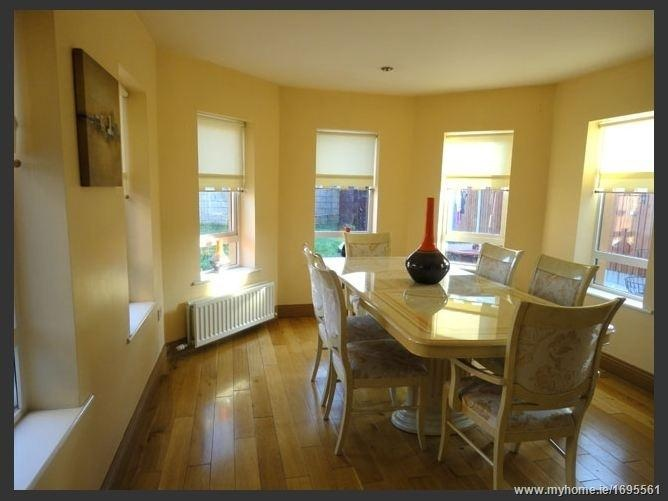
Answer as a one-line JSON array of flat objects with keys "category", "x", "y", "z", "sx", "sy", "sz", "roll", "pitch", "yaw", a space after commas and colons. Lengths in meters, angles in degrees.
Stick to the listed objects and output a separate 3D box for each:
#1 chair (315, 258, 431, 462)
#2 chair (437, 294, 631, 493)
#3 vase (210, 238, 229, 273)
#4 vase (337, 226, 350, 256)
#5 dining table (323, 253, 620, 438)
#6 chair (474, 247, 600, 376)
[{"category": "chair", "x": 0.163, "y": 0.660, "z": 3.655, "sx": 0.990, "sy": 1.657, "sz": 0.981, "roll": -3, "pitch": 9, "yaw": -9}, {"category": "chair", "x": 1.008, "y": 0.724, "z": 2.611, "sx": 0.678, "sy": 1.108, "sz": 0.544, "roll": -3, "pitch": 14, "yaw": -16}, {"category": "vase", "x": -1.097, "y": 0.060, "z": 4.684, "sx": 0.117, "sy": 0.317, "sz": 0.150, "roll": 9, "pitch": 15, "yaw": 32}, {"category": "vase", "x": 0.115, "y": -0.088, "z": 5.588, "sx": 0.117, "sy": 0.363, "sz": 0.119, "roll": 4, "pitch": -9, "yaw": -4}, {"category": "dining table", "x": 0.644, "y": 0.721, "z": 3.276, "sx": 1.014, "sy": 0.819, "sz": 1.760, "roll": -1, "pitch": 7, "yaw": -18}, {"category": "chair", "x": 1.360, "y": 0.369, "z": 3.620, "sx": 0.833, "sy": 1.206, "sz": 0.679, "roll": -1, "pitch": 5, "yaw": -18}]
